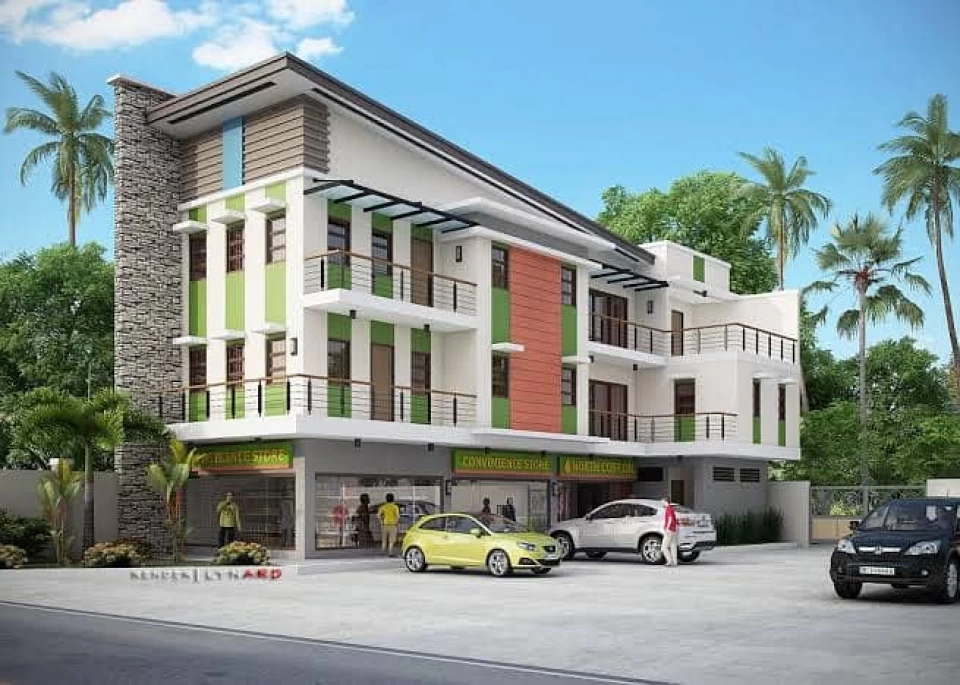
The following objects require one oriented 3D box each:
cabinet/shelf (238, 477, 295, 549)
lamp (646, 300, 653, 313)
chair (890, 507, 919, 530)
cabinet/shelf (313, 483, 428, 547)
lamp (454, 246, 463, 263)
[{"bbox_3d":[-6.659,5.386,30.740,0.798,2.176,2.339,-1,0,-40],"label":"cabinet/shelf"},{"bbox_3d":[7.607,-1.602,43.404,0.399,0.624,0.109,-6,-13,20],"label":"lamp"},{"bbox_3d":[9.457,3.895,21.627,0.645,0.442,0.535,-7,-14,23],"label":"chair"},{"bbox_3d":[-3.544,5.424,31.281,1.012,2.176,4.123,-10,-16,36],"label":"cabinet/shelf"},{"bbox_3d":[-0.697,-3.069,33.844,0.363,0.623,0.090,-11,-16,38],"label":"lamp"}]
